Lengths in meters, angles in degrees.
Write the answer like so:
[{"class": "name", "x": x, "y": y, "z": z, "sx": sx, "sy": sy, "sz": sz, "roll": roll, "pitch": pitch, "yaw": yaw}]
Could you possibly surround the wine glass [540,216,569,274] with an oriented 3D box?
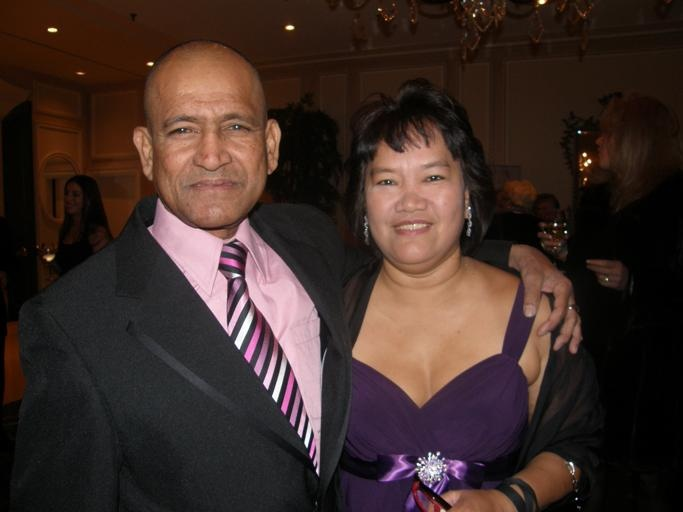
[{"class": "wine glass", "x": 1.484, "y": -0.160, "z": 4.064, "sx": 0.167, "sy": 0.150, "sz": 0.453, "roll": 5, "pitch": 26, "yaw": 19}]
